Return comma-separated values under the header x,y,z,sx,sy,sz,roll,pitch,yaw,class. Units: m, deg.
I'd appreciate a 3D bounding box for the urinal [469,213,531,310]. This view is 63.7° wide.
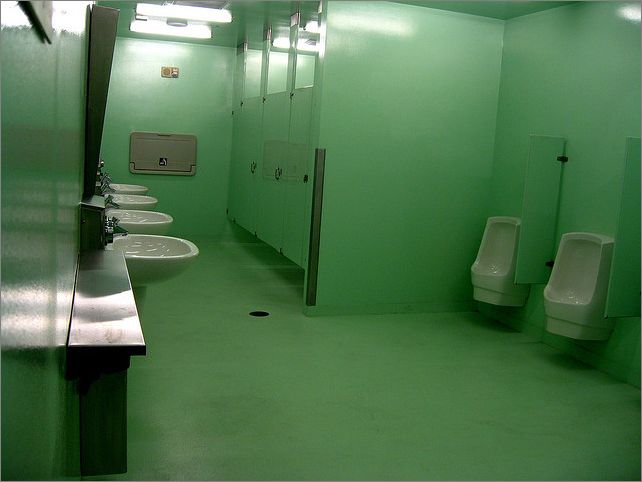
x,y,z,sx,sy,sz,roll,pitch,yaw,class
1.527,0.163,4.490,0.474,0.739,0.553,8,6,42,urinal

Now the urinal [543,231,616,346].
x,y,z,sx,sy,sz,roll,pitch,yaw,class
1.820,0.330,3.773,0.387,0.787,0.524,2,11,-14,urinal

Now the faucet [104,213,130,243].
x,y,z,sx,sy,sz,roll,pitch,yaw,class
-1.043,-0.063,2.636,0.133,0.072,0.188,3,14,-14,faucet
